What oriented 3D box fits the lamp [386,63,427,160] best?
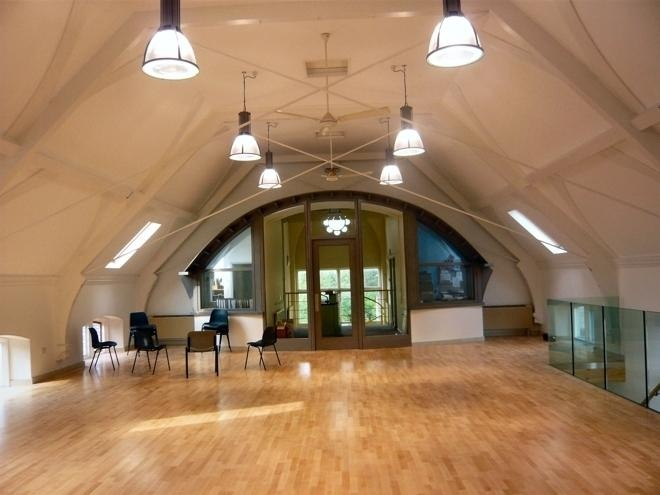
[{"bbox_3d":[1.311,-2.155,8.830,0.477,1.558,1.620,-4,-8,8],"label":"lamp"}]

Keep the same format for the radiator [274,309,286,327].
[{"bbox_3d":[-1.287,1.823,13.328,0.449,0.484,0.156,-1,-2,5],"label":"radiator"}]

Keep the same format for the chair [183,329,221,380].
[{"bbox_3d":[-2.704,2.215,10.932,0.966,1.268,0.898,0,1,-12],"label":"chair"}]

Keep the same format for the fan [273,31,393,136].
[{"bbox_3d":[0.145,-2.628,8.973,1.681,1.602,1.497,0,-5,0],"label":"fan"}]
